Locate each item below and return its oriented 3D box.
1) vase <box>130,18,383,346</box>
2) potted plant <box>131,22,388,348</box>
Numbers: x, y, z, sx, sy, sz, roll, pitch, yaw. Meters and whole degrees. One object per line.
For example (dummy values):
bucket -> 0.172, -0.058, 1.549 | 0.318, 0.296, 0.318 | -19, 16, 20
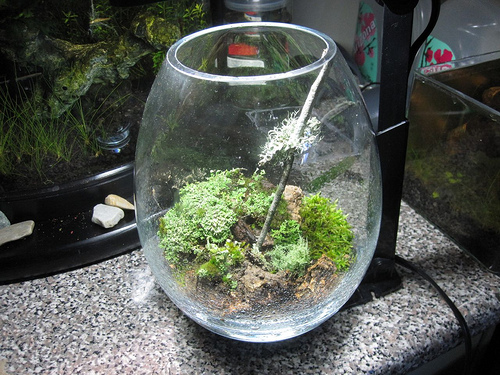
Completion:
vase -> -0.018, -0.032, 0.872 | 0.441, 0.595, 0.494 | 9, 33, 18
potted plant -> 0.004, -0.016, 0.872 | 0.447, 0.595, 0.496 | -2, 31, 4
